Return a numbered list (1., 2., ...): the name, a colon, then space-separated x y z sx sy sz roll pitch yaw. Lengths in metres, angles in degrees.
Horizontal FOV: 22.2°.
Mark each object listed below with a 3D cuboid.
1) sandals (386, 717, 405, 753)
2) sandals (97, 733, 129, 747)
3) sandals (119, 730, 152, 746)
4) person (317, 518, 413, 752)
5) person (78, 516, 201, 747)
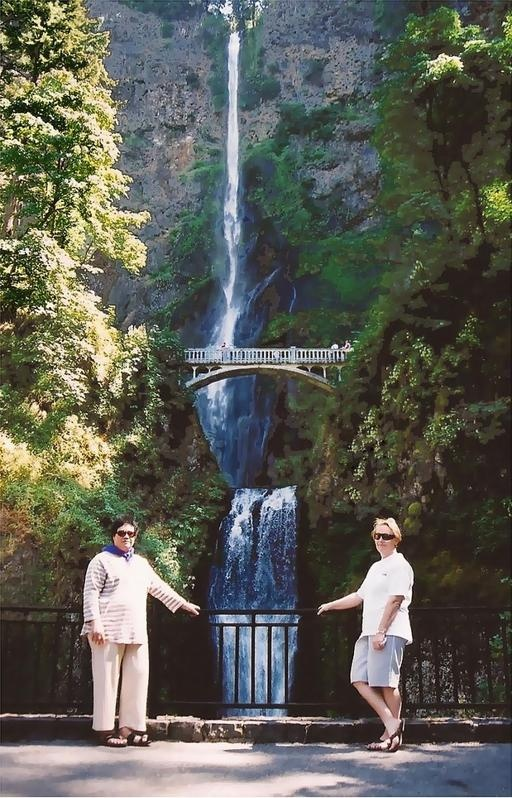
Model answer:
1. sandals: 1.560 3.680 14.641 0.153 0.432 0.114 7 -23 30
2. sandals: -1.611 3.816 14.748 0.321 0.109 0.156 5 -3 4
3. sandals: -1.357 3.808 14.772 0.379 0.121 0.147 12 -8 -5
4. person: 1.366 2.618 14.612 0.812 2.530 0.440 -5 -10 23
5. person: -1.487 2.642 14.903 1.068 2.518 0.636 4 -10 -28
